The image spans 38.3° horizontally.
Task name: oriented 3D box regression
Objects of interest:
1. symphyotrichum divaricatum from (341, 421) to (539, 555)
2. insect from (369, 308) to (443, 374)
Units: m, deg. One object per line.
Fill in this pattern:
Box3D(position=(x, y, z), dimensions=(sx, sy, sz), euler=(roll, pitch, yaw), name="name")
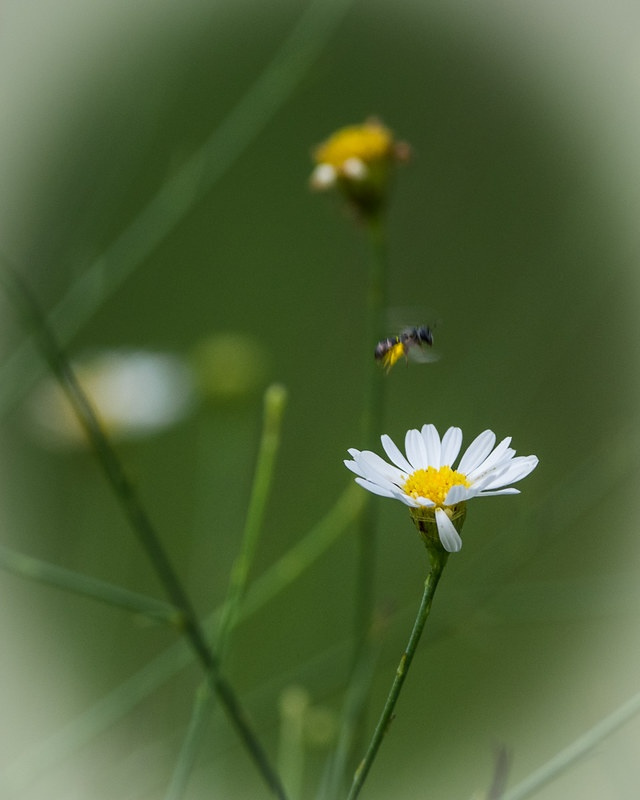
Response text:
Box3D(position=(0.045, 0.039, 0.347), dimensions=(0.066, 0.045, 0.068), euler=(-8, 6, -30), name="symphyotrichum divaricatum")
Box3D(position=(0.044, -0.028, 0.458), dimensions=(0.030, 0.021, 0.045), euler=(-14, 7, -3), name="insect")
